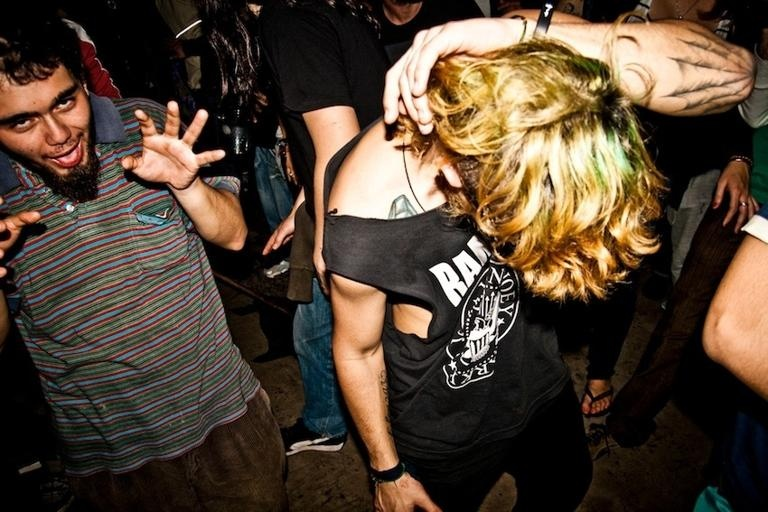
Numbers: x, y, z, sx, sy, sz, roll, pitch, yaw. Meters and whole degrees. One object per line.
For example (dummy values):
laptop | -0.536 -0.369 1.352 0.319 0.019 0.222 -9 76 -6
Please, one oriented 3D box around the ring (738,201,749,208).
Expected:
ring | 2.431 -0.345 4.089 0.046 0.032 0.049 14 -4 1

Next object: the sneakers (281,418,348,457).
sneakers | -0.548 1.327 4.455 0.582 0.242 0.213 6 6 -2

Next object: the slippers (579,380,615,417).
slippers | 1.616 1.042 4.665 0.386 0.088 0.177 -23 31 -40
